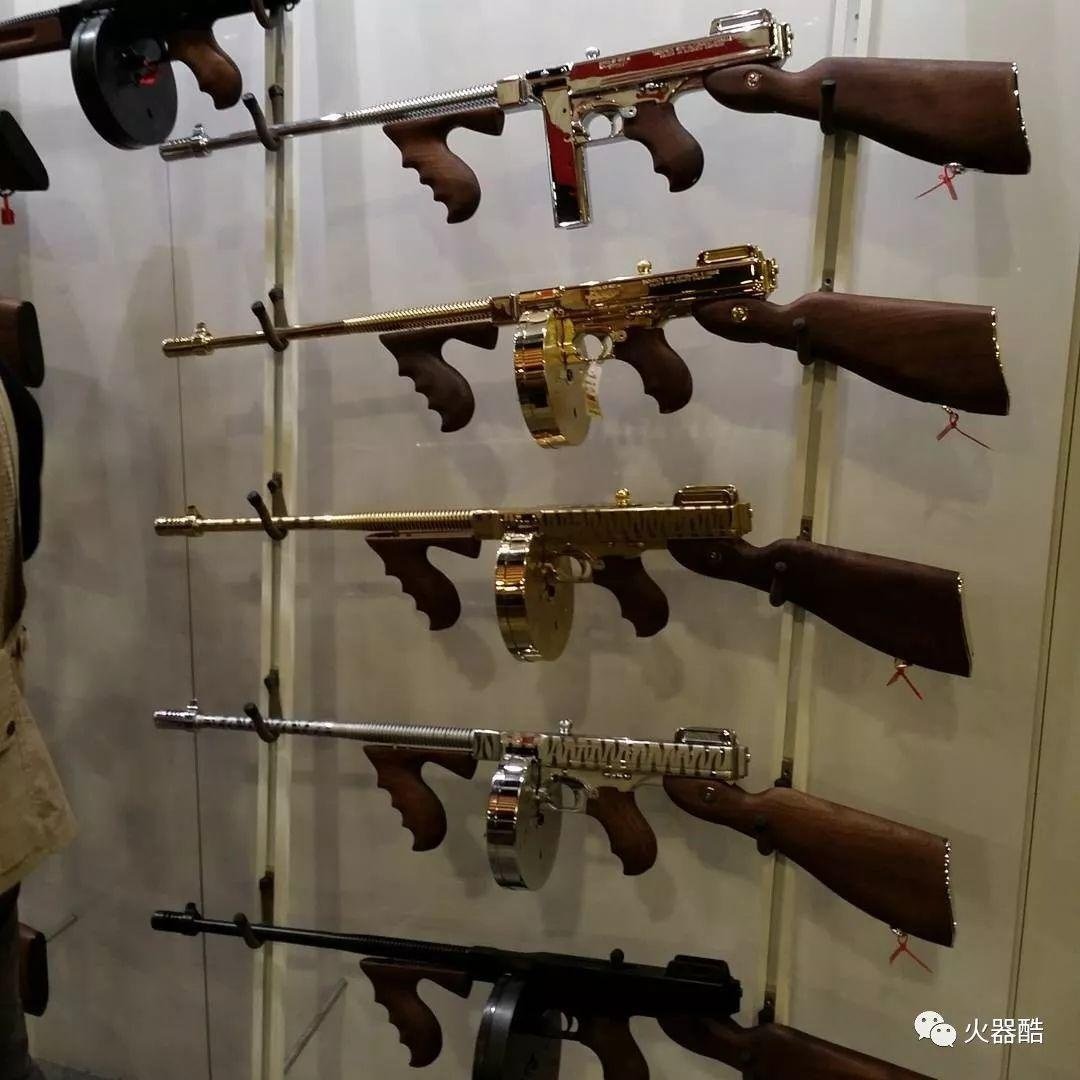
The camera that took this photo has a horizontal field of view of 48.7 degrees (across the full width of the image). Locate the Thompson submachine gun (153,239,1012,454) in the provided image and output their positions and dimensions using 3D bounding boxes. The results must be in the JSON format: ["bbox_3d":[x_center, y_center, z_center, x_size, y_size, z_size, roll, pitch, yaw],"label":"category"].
[{"bbox_3d":[0.119,-0.331,2.041,1.162,0.253,0.389,-1,-69,17],"label":"Thompson submachine gun"}]
